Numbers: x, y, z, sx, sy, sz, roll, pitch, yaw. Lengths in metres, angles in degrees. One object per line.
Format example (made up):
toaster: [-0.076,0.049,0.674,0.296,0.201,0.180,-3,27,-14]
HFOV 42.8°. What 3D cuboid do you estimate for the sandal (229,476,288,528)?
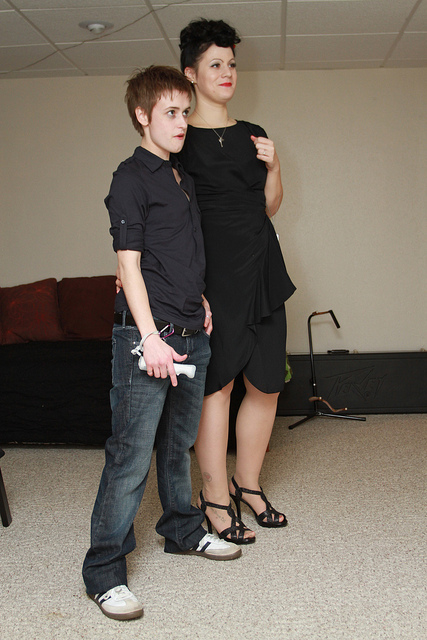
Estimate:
sandal: [0.170,0.685,2.050,0.246,0.153,0.088,3,4,32]

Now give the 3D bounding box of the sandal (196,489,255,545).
sandal: [0.034,0.688,1.917,0.229,0.129,0.078,2,5,30]

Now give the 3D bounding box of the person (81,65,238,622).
person: [-0.173,0.040,1.556,0.359,1.507,0.496,-1,3,13]

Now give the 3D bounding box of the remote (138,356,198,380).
remote: [-0.120,0.118,1.352,0.140,0.040,0.036,15,26,-12]
